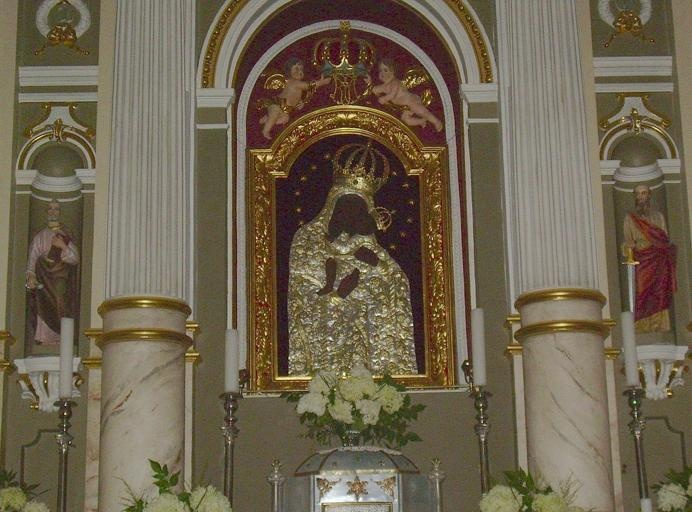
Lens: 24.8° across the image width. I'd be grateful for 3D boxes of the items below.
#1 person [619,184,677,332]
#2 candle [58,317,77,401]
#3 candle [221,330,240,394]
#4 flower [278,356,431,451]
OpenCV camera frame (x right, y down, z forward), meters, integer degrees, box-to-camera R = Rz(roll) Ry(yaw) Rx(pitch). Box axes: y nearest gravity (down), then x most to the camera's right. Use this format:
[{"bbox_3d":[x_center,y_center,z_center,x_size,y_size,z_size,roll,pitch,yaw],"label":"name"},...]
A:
[{"bbox_3d":[2.355,0.034,12.180,0.402,1.164,0.115,-3,-15,10],"label":"person"},{"bbox_3d":[-1.890,0.712,10.658,0.083,0.566,0.136,3,-16,-14],"label":"candle"},{"bbox_3d":[-0.786,0.740,10.860,0.089,0.465,0.125,0,-15,-3],"label":"candle"},{"bbox_3d":[0.112,1.056,11.089,0.771,0.495,0.758,2,-6,5],"label":"flower"}]
